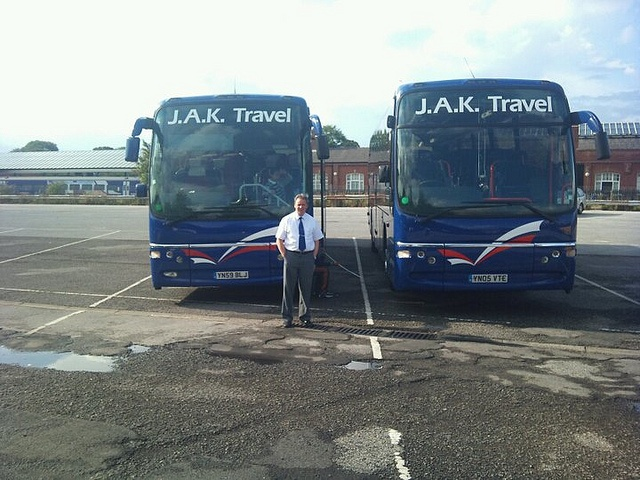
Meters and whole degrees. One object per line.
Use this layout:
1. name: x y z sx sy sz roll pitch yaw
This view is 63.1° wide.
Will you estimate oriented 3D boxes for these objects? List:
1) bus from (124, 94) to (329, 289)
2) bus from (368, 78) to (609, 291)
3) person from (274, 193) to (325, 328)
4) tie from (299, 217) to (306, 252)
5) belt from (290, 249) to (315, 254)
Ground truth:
1. bus: -1.656 -1.035 12.250 2.431 2.503 5.141 -1 0 1
2. bus: 3.034 -0.982 11.888 2.291 2.550 6.590 -1 1 4
3. person: -0.323 0.295 8.579 0.727 2.102 0.533 -1 6 -9
4. tie: -0.290 -0.120 8.508 0.111 0.546 0.114 -3 7 -26
5. belt: -0.264 0.166 8.549 0.378 0.055 0.097 -2 7 -14
